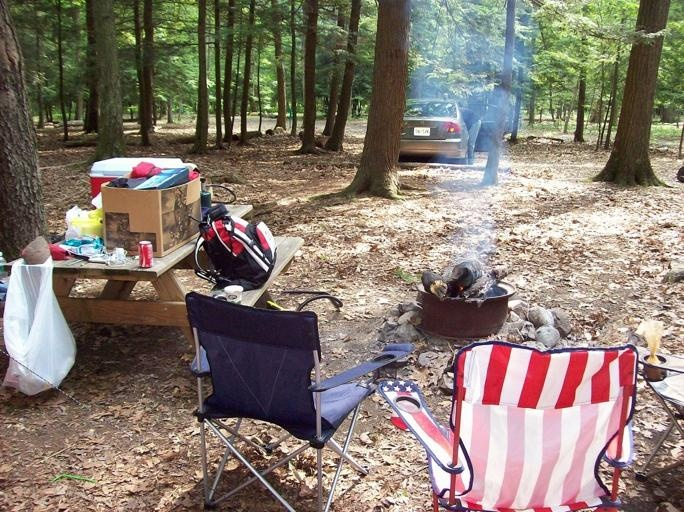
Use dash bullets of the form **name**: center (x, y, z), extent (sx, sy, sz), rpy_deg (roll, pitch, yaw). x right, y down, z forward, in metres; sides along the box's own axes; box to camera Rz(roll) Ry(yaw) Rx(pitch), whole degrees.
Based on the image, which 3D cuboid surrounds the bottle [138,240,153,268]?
- **bottle**: center (-1.614, -0.021, 5.182), extent (0.117, 0.202, 0.250), rpy_deg (-5, 16, -16)

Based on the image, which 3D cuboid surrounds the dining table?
- **dining table**: center (-1.901, 0.021, 5.474), extent (1.080, 0.350, 1.600), rpy_deg (6, 19, 8)

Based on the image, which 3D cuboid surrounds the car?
- **car**: center (2.449, -3.035, 15.007), extent (1.719, 1.383, 4.089), rpy_deg (3, 15, 10)
